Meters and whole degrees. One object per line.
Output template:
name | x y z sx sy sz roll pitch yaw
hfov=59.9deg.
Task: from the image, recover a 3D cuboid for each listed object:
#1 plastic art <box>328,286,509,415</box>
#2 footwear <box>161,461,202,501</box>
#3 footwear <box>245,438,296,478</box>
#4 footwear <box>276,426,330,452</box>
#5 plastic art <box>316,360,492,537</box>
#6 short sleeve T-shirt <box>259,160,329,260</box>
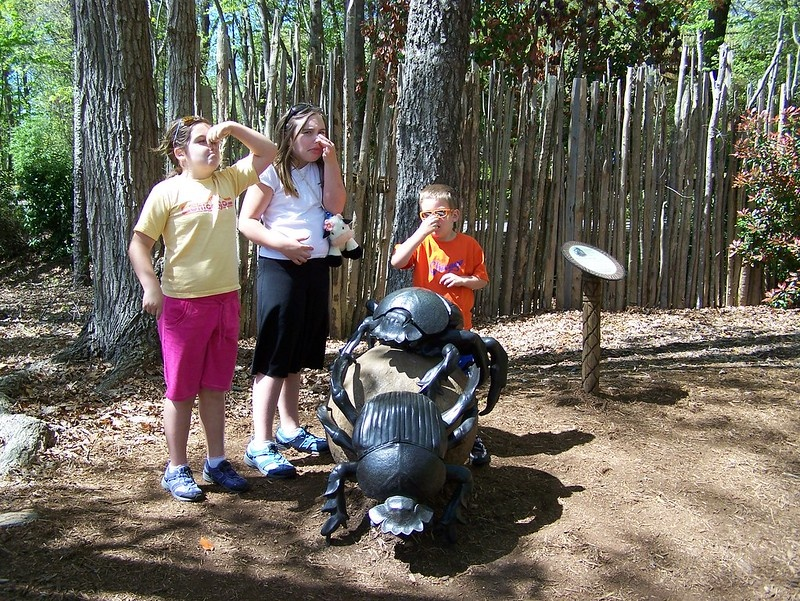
plastic art | 0.132 0.197 4.501 0.987 0.757 0.825 16 23 33
footwear | -1.473 1.178 4.632 0.361 0.227 0.134 6 12 31
footwear | -0.906 1.096 4.899 0.378 0.192 0.188 27 5 23
footwear | -0.695 1.015 5.133 0.400 0.206 0.170 13 -10 -1
plastic art | -0.038 0.963 4.193 0.989 1.021 0.712 1 10 6
short sleeve T-shirt | -0.735 -0.595 4.685 0.579 0.651 0.320 -2 5 -40
